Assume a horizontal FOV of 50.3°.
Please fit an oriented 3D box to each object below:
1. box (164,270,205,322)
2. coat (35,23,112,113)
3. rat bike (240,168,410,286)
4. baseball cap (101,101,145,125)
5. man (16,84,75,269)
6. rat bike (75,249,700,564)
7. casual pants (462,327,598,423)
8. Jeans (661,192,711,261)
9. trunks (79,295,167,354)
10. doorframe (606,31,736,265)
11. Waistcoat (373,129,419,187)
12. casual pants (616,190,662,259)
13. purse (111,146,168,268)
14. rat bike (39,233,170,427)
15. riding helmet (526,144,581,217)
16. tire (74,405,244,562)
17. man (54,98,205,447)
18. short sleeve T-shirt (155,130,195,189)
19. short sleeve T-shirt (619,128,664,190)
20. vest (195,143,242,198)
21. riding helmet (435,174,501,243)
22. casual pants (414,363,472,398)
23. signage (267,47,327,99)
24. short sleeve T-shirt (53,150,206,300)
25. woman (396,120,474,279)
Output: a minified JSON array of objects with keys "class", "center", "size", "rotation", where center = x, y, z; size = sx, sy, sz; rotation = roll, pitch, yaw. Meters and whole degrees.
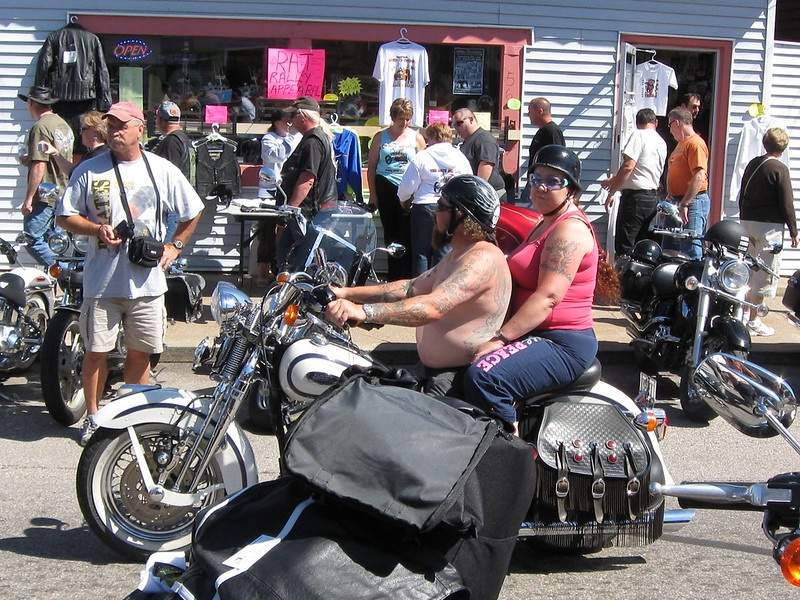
[{"class":"box","center":[-1.984,-0.004,7.823],"size":[0.157,0.302,0.443],"rotation":[-21,-10,-35]},{"class":"coat","center":[-4.104,-2.899,10.705],"size":[0.864,1.240,0.310],"rotation":[-3,-8,-16]},{"class":"rat bike","center":[-0.589,-0.525,6.968],"size":[0.777,0.803,1.304],"rotation":[14,4,2]},{"class":"baseball cap","center":[-1.917,-1.302,5.938],"size":[0.151,0.129,0.232],"rotation":[9,-3,25]},{"class":"man","center":[-3.929,-1.306,9.383],"size":[0.570,2.056,0.682],"rotation":[3,8,11]},{"class":"rat bike","center":[-0.143,0.596,5.458],"size":[3.128,1.962,1.636],"rotation":[3,1,-1]},{"class":"casual pants","center":[0.740,0.355,4.827],"size":[0.632,0.239,0.447],"rotation":[-34,22,-10]},{"class":"Jeans","center":[3.274,-0.839,9.557],"size":[0.661,0.727,1.106],"rotation":[2,5,11]},{"class":"trunks","center":[-1.947,0.187,6.144],"size":[0.526,0.529,0.312],"rotation":[2,-24,-2]},{"class":"doorframe","center":[3.633,-2.434,11.245],"size":[1.522,3.169,0.223],"rotation":[7,-32,5]},{"class":"Waistcoat","center":[-0.011,-1.619,9.724],"size":[0.454,0.705,0.395],"rotation":[3,0,-14]},{"class":"casual pants","center":[2.932,-0.985,10.695],"size":[0.428,0.611,1.367],"rotation":[20,-25,22]},{"class":"purse","center":[-1.710,-0.659,5.665],"size":[0.309,1.030,0.178],"rotation":[8,44,1]},{"class":"rat bike","center":[-2.652,0.218,7.423],"size":[0.928,1.447,2.175],"rotation":[-2,3,-1]},{"class":"riding helmet","center":[0.950,-0.798,5.339],"size":[0.309,0.426,0.381],"rotation":[-19,-23,39]},{"class":"tire","center":[-1.333,1.036,4.779],"size":[0.934,1.044,0.246],"rotation":[8,26,-5]},{"class":"man","center":[-1.914,-0.165,6.043],"size":[0.958,2.478,0.748],"rotation":[-1,8,-25]},{"class":"short sleeve T-shirt","center":[-2.512,-1.551,9.708],"size":[0.334,0.731,0.634],"rotation":[-3,3,7]},{"class":"short sleeve T-shirt","center":[2.971,-1.742,10.252],"size":[0.414,0.455,0.238],"rotation":[-4,1,-24]},{"class":"vest","center":[-2.248,-1.623,10.435],"size":[0.515,0.754,0.167],"rotation":[-3,38,-15]},{"class":"riding helmet","center":[0.404,-0.567,4.777],"size":[0.353,0.360,0.292],"rotation":[29,17,13]},{"class":"casual pants","center":[0.232,0.457,4.812],"size":[0.200,0.194,0.086],"rotation":[8,-34,4]},{"class":"signage","center":[-1.364,-2.941,11.036],"size":[0.930,0.890,0.088],"rotation":[-1,1,-8]},{"class":"short sleeve T-shirt","center":[-1.966,-0.559,6.155],"size":[1.005,1.126,0.551],"rotation":[-2,20,-28]},{"class":"woman","center":[0.363,-0.966,9.210],"size":[0.720,2.003,0.701],"rotation":[2,22,-5]}]
